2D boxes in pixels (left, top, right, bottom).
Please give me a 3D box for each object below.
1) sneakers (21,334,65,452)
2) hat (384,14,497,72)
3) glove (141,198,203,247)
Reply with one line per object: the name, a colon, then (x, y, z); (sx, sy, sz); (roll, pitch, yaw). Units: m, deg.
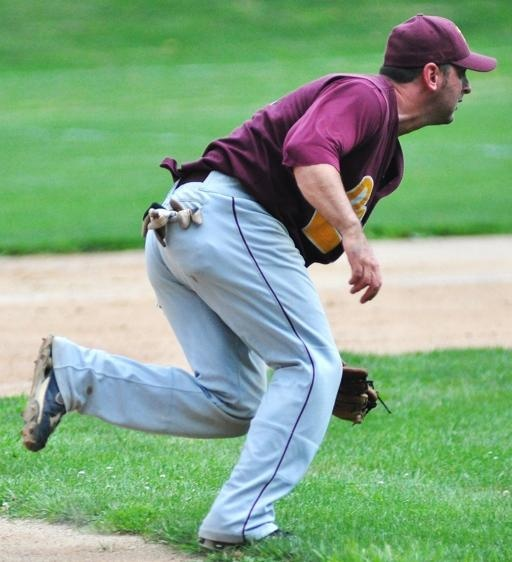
sneakers: (-0.847, 0.479, 5.369); (0.174, 0.472, 0.151); (7, 32, 30)
hat: (0.797, -1.044, 5.611); (0.533, 0.217, 0.301); (-1, 19, -9)
glove: (-0.359, -0.241, 5.376); (0.221, 0.117, 0.200); (-2, -8, -27)
